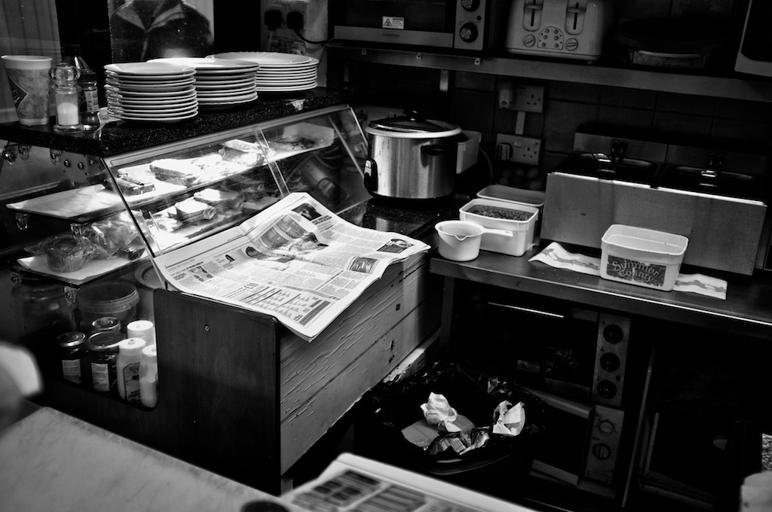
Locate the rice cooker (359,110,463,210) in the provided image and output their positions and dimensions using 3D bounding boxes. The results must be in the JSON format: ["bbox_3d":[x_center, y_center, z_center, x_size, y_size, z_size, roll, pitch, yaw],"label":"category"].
[{"bbox_3d":[0.252,-0.477,2.762,0.539,0.370,0.541,10,17,27],"label":"rice cooker"}]

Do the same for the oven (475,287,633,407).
[{"bbox_3d":[0.798,0.373,2.565,0.651,0.375,0.403,9,15,38],"label":"oven"}]

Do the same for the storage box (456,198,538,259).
[{"bbox_3d":[0.474,-0.156,2.521,0.337,0.164,0.244,15,28,30],"label":"storage box"}]

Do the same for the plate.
[{"bbox_3d":[-0.664,-0.622,2.080,0.616,0.240,0.742,2,19,16],"label":"plate"}]

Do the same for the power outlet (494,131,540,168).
[{"bbox_3d":[0.663,-0.539,2.828,0.286,0.169,0.151,10,26,20],"label":"power outlet"}]

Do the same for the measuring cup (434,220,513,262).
[{"bbox_3d":[0.373,-0.059,2.399,0.329,0.111,0.211,11,24,18],"label":"measuring cup"}]

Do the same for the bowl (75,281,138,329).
[{"bbox_3d":[-0.926,0.150,1.893,0.183,0.121,0.182,4,23,-2],"label":"bowl"}]

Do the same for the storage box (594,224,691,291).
[{"bbox_3d":[1.030,0.002,2.261,0.308,0.201,0.182,13,26,24],"label":"storage box"}]
